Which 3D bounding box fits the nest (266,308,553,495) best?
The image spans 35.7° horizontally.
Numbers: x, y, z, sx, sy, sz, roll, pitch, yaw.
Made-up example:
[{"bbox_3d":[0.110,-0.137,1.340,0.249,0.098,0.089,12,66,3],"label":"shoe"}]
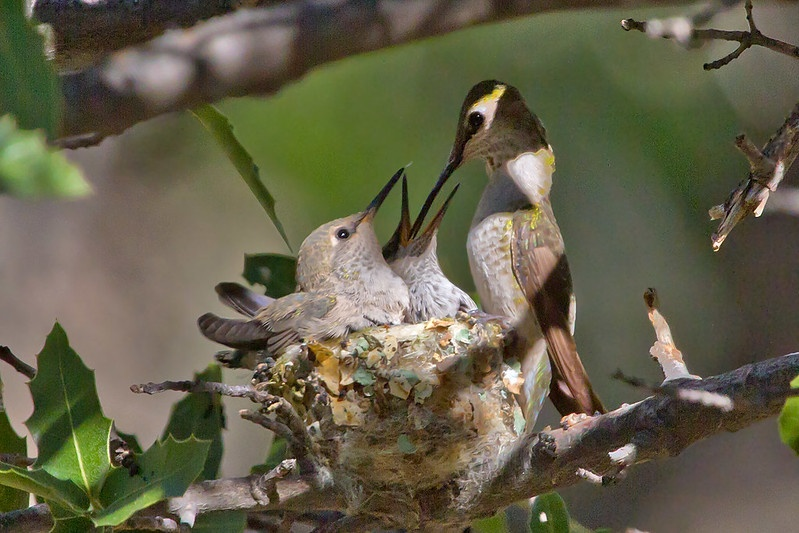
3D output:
[{"bbox_3d":[0.025,0.311,2.935,0.457,0.422,0.171,-37,26,3],"label":"nest"}]
